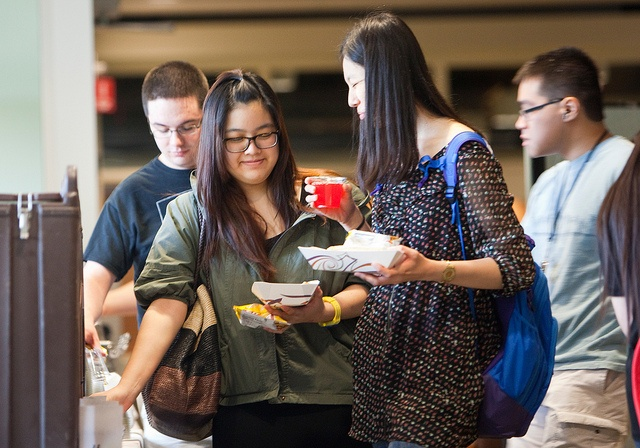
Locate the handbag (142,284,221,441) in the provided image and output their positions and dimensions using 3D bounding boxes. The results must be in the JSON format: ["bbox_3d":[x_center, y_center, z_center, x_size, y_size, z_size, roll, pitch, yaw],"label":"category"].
[{"bbox_3d":[-0.570,0.573,3.267,0.300,0.594,0.166,-4,1,-13],"label":"handbag"}]

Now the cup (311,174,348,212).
[{"bbox_3d":[0.018,-0.133,3.309,0.189,0.131,0.179,-1,2,0],"label":"cup"}]

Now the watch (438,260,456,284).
[{"bbox_3d":[0.467,0.184,2.877,0.058,0.063,0.018,3,11,-42],"label":"watch"}]

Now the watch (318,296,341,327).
[{"bbox_3d":[0.055,0.368,3.332,0.059,0.112,0.105,-17,8,-31],"label":"watch"}]
